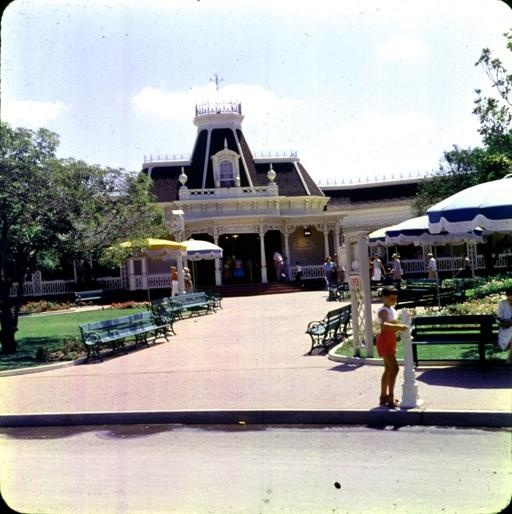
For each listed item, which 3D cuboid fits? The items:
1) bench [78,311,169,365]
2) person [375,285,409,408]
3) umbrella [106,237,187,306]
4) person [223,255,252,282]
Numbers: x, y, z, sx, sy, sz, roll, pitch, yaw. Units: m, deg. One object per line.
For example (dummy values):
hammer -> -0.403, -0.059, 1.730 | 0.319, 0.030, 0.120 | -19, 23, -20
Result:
bench -> -3.102, 1.848, 16.021 | 0.621, 0.752, 2.839 | -3, 1, 25
person -> 1.807, 1.191, 8.890 | 0.427, 1.621, 0.548 | -6, -7, 11
umbrella -> -3.782, 0.440, 23.171 | 2.124, 2.215, 2.292 | -1, -2, -15
person -> -1.159, 0.672, 38.481 | 1.492, 1.474, 0.790 | 0, -3, -19
